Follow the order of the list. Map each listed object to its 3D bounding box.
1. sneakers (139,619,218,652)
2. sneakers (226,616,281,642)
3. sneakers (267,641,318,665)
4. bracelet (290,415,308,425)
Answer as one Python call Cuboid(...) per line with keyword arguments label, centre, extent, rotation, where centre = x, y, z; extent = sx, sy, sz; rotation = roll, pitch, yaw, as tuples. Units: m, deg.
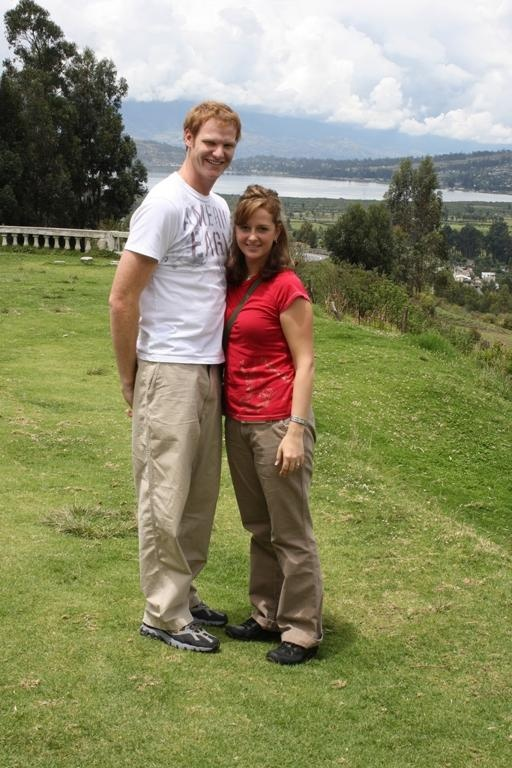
Cuboid(label="sneakers", centre=(-0.374, 1.182, 3.475), extent=(0.350, 0.139, 0.145), rotation=(11, 16, 7))
Cuboid(label="sneakers", centre=(-0.025, 1.270, 3.778), extent=(0.280, 0.126, 0.107), rotation=(12, -5, -15))
Cuboid(label="sneakers", centre=(0.181, 1.296, 3.590), extent=(0.253, 0.104, 0.089), rotation=(16, -6, -40))
Cuboid(label="bracelet", centre=(0.204, 0.171, 3.487), extent=(0.095, 0.032, 0.048), rotation=(8, 5, -23))
